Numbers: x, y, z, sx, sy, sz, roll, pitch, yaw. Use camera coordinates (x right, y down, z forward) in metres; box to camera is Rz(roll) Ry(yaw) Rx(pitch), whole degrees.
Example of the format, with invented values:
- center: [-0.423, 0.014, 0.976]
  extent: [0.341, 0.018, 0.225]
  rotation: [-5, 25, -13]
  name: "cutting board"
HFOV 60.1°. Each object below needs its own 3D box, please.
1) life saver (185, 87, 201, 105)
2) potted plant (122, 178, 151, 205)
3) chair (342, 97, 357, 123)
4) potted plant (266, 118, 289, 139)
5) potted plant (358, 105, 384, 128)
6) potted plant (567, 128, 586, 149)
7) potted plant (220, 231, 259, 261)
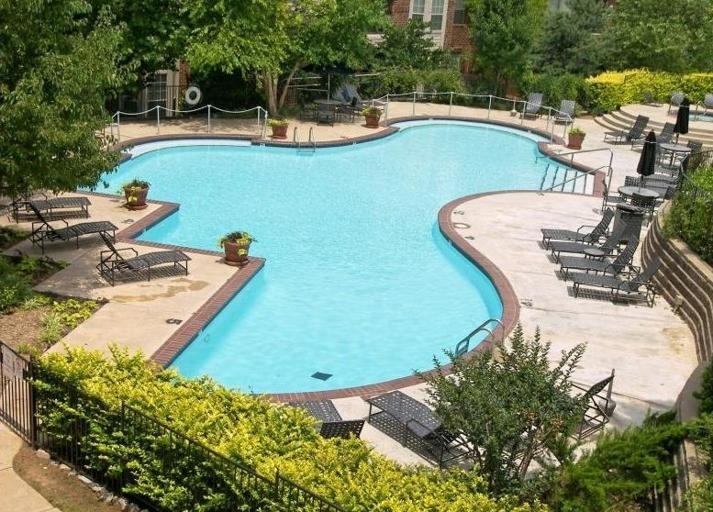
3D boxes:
- center: [-8.538, -8.372, 32.178]
  extent: [0.845, 1.048, 0.761]
  rotation: [-9, 21, -20]
  name: "life saver"
- center: [-6.764, -1.969, 18.955]
  extent: [0.829, 0.619, 0.814]
  rotation: [0, 18, -8]
  name: "potted plant"
- center: [-0.336, -8.177, 33.855]
  extent: [0.651, 1.341, 1.717]
  rotation: [-1, 20, -1]
  name: "chair"
- center: [-3.670, -5.949, 28.609]
  extent: [1.003, 0.931, 0.984]
  rotation: [0, 17, -3]
  name: "potted plant"
- center: [0.834, -7.325, 32.476]
  extent: [0.751, 0.996, 1.256]
  rotation: [4, 20, 12]
  name: "potted plant"
- center: [10.677, -5.735, 29.921]
  extent: [1.041, 1.020, 1.027]
  rotation: [4, 27, 7]
  name: "potted plant"
- center: [-3.055, -0.235, 15.854]
  extent: [0.754, 0.714, 0.843]
  rotation: [2, 13, -1]
  name: "potted plant"
